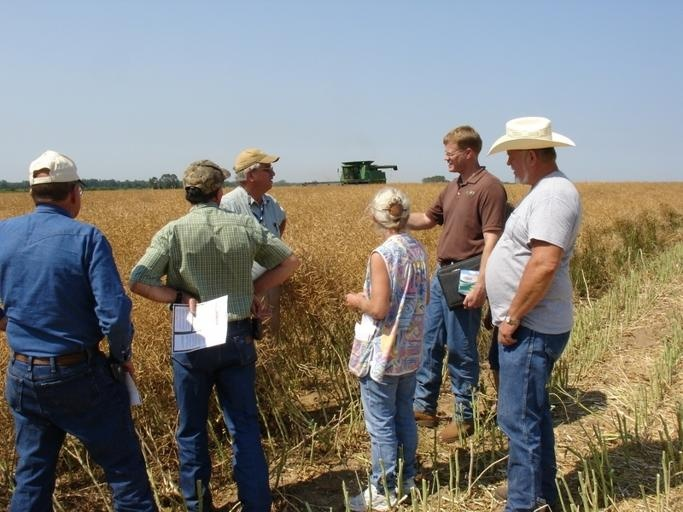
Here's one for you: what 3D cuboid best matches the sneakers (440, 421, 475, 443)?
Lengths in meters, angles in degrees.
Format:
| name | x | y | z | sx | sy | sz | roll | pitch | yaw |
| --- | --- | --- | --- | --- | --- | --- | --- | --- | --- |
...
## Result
| name | x | y | z | sx | sy | sz | roll | pitch | yaw |
| --- | --- | --- | --- | --- | --- | --- | --- | --- | --- |
| sneakers | 1.072 | 1.554 | 5.235 | 0.357 | 0.179 | 0.186 | 2 | 0 | -17 |

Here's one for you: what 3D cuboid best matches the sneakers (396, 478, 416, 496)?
| name | x | y | z | sx | sy | sz | roll | pitch | yaw |
| --- | --- | --- | --- | --- | --- | --- | --- | --- | --- |
| sneakers | 0.501 | 1.743 | 4.442 | 0.100 | 0.131 | 0.295 | -7 | -21 | 18 |

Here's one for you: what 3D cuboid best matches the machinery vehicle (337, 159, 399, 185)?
| name | x | y | z | sx | sy | sz | roll | pitch | yaw |
| --- | --- | --- | --- | --- | --- | --- | --- | --- | --- |
| machinery vehicle | 1.702 | -6.639 | 47.041 | 3.425 | 1.830 | 2.363 | 0 | 4 | 7 |

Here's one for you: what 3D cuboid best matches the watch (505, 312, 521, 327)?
| name | x | y | z | sx | sy | sz | roll | pitch | yaw |
| --- | --- | --- | --- | --- | --- | --- | --- | --- | --- |
| watch | 1.220 | 0.457 | 4.171 | 0.073 | 0.080 | 0.082 | 26 | 19 | -23 |

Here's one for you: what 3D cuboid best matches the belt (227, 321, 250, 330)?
| name | x | y | z | sx | sy | sz | roll | pitch | yaw |
| --- | --- | --- | --- | --- | --- | --- | --- | --- | --- |
| belt | -0.758 | 0.505 | 4.313 | 0.071 | 0.059 | 0.102 | -1 | -6 | 3 |

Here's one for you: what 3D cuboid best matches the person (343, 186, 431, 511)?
| name | x | y | z | sx | sy | sz | roll | pitch | yaw |
| --- | --- | --- | --- | --- | --- | --- | --- | --- | --- |
| person | 0.366 | 0.700 | 4.342 | 0.647 | 2.413 | 0.452 | -1 | 4 | -11 |
